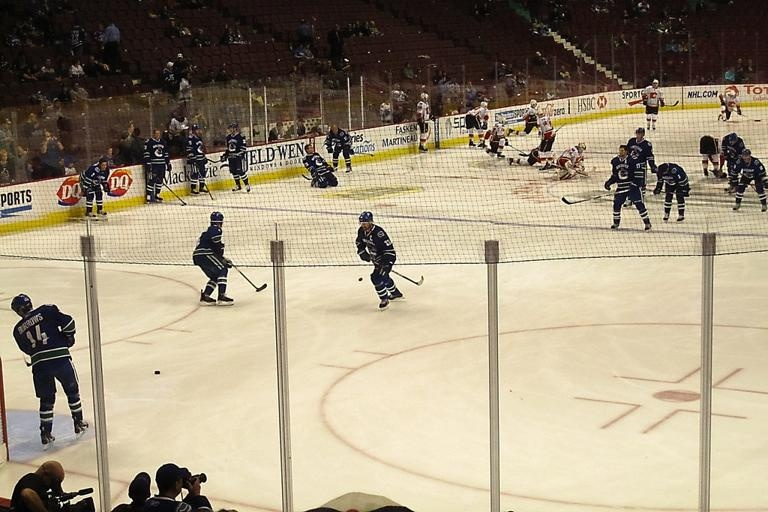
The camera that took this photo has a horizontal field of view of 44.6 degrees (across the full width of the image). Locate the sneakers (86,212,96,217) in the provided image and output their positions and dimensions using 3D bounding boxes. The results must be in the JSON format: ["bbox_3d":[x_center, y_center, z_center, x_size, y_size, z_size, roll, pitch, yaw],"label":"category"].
[{"bbox_3d":[-6.667,-0.917,21.197,0.286,0.109,0.087,0,17,-8],"label":"sneakers"}]

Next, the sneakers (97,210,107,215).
[{"bbox_3d":[-6.467,-0.971,21.472,0.217,0.076,0.076,1,13,5],"label":"sneakers"}]

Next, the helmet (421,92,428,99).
[{"bbox_3d":[1.252,-4.988,29.260,0.218,0.091,0.203,1,21,5],"label":"helmet"}]

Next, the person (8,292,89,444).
[{"bbox_3d":[-4.078,1.381,11.488,0.687,1.737,0.591,-10,12,-21],"label":"person"}]

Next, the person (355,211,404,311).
[{"bbox_3d":[-0.088,0.066,15.336,0.669,1.535,0.844,-6,11,-2],"label":"person"}]

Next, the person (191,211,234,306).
[{"bbox_3d":[-2.860,0.066,15.566,0.593,1.468,0.876,-9,11,-12],"label":"person"}]

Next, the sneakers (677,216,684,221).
[{"bbox_3d":[6.240,-0.778,19.743,0.145,0.116,0.267,-2,10,20],"label":"sneakers"}]

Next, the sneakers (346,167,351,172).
[{"bbox_3d":[-1.011,-2.449,26.690,0.146,0.188,0.488,-6,10,-1],"label":"sneakers"}]

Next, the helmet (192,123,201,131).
[{"bbox_3d":[-4.675,-3.182,23.335,0.173,0.145,0.134,-17,25,-41],"label":"helmet"}]

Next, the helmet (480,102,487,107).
[{"bbox_3d":[3.109,-4.750,29.451,0.172,0.119,0.217,1,11,16],"label":"helmet"}]

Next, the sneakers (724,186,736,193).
[{"bbox_3d":[8.146,-1.530,22.095,0.184,0.086,0.257,2,-16,-17],"label":"sneakers"}]

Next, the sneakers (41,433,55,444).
[{"bbox_3d":[-4.065,2.226,11.308,0.092,0.113,0.171,6,13,17],"label":"sneakers"}]

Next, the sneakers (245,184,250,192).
[{"bbox_3d":[-3.521,-1.732,24.194,0.126,0.213,0.363,-8,10,-9],"label":"sneakers"}]

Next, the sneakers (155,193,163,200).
[{"bbox_3d":[-5.533,-1.433,23.033,0.112,0.171,0.416,-6,10,-2],"label":"sneakers"}]

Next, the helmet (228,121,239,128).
[{"bbox_3d":[-3.910,-3.385,24.304,0.330,0.108,0.235,-7,14,-28],"label":"helmet"}]

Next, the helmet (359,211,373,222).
[{"bbox_3d":[-0.291,-0.606,15.369,0.259,0.209,0.186,2,14,-11],"label":"helmet"}]

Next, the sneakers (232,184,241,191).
[{"bbox_3d":[-3.824,-1.742,24.285,0.236,0.160,0.285,-6,10,-5],"label":"sneakers"}]

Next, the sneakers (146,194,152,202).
[{"bbox_3d":[-5.732,-1.374,22.883,0.159,0.159,0.156,-1,5,-7],"label":"sneakers"}]

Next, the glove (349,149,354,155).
[{"bbox_3d":[-0.884,-2.904,26.312,0.120,0.171,0.185,-2,8,-3],"label":"glove"}]

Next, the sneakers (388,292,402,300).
[{"bbox_3d":[0.185,0.677,15.542,0.282,0.083,0.106,-1,3,-6],"label":"sneakers"}]
